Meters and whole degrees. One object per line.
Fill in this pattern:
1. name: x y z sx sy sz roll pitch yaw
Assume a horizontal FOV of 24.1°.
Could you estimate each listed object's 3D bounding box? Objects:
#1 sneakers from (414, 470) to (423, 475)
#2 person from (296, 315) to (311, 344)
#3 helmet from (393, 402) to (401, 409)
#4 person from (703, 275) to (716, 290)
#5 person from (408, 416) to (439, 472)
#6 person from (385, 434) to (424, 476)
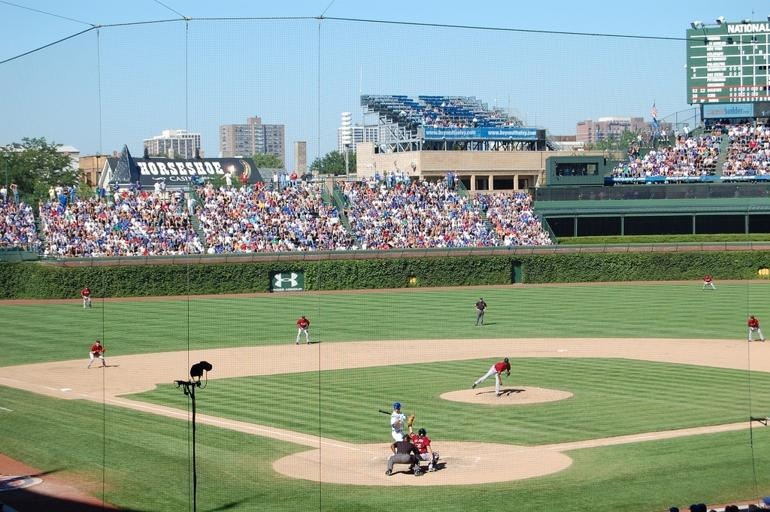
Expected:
1. sneakers: 1.435 8.953 74.247 0.435 0.293 0.140 -1 8 -1
2. person: -4.028 3.757 90.018 0.995 1.025 2.123 1 35 -3
3. helmet: 0.540 6.306 75.324 0.239 0.286 0.302 7 19 22
4. person: 18.702 1.470 103.627 0.917 1.084 0.847 0 -5 3
5. person: 1.575 7.820 74.714 1.194 2.291 1.043 2 13 31
6. person: 0.837 8.182 74.503 1.331 1.633 1.192 4 -5 11
